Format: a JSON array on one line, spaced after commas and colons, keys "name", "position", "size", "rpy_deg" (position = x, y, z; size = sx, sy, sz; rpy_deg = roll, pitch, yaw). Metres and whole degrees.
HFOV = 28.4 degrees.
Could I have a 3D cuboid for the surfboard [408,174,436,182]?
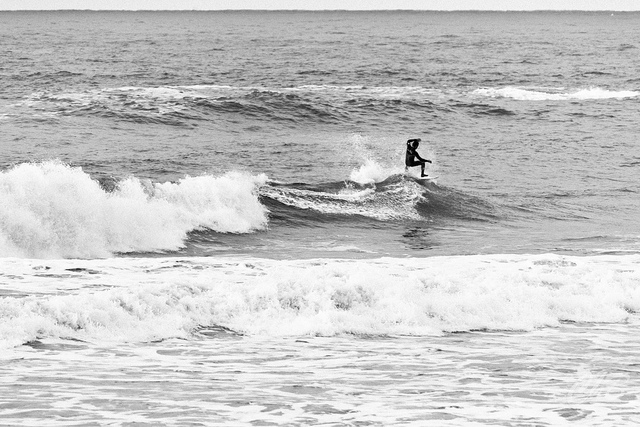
[{"name": "surfboard", "position": [3.807, -1.376, 49.102], "size": [1.722, 0.240, 0.295], "rpy_deg": [-3, 19, -7]}]
